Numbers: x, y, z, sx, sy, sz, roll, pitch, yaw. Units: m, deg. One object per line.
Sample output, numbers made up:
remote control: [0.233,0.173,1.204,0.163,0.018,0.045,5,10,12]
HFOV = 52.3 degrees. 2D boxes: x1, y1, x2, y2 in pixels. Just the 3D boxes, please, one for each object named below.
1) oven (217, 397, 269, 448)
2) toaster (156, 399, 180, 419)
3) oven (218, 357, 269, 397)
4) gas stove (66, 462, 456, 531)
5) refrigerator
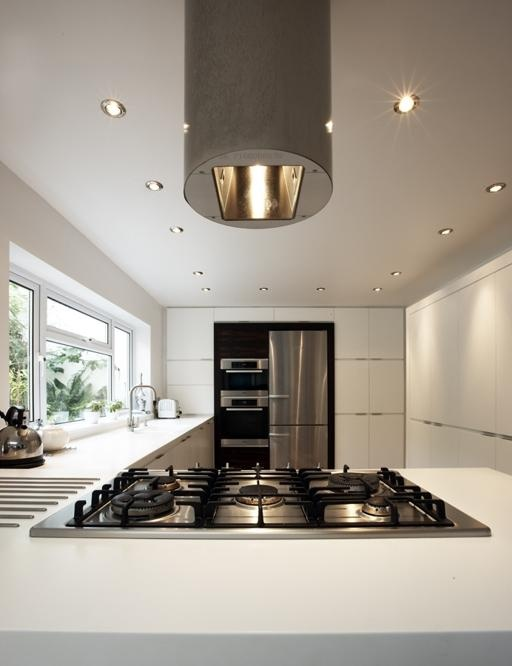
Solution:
oven: [-0.082,0.942,5.476,0.541,0.504,0.387,-4,-11,19]
toaster: [-0.850,0.715,4.989,0.180,0.165,0.181,0,2,-2]
oven: [-0.127,0.436,5.391,0.548,0.385,0.326,-1,-11,4]
gas stove: [0.019,0.400,1.320,0.868,0.090,0.608,0,-1,0]
refrigerator: [0.442,0.675,5.292,0.619,1.407,0.319,0,-1,2]
